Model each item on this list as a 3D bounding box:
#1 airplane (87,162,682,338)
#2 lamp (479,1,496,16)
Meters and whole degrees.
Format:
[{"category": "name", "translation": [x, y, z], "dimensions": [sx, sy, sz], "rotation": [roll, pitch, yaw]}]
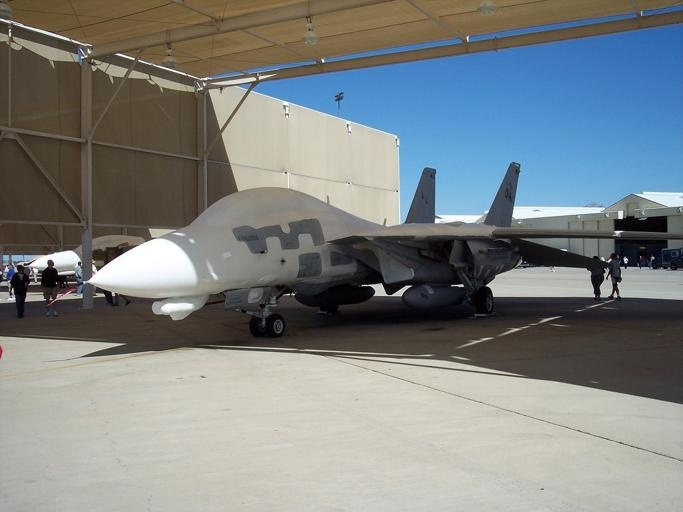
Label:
[{"category": "airplane", "translation": [-0.158, 0.127, 13.692], "dimensions": [11.270, 3.331, 4.014], "rotation": [-4, 7, -30]}, {"category": "lamp", "translation": [3.446, -5.864, 14.466], "dimensions": [0.388, 0.196, 0.462], "rotation": [-1, 6, 3]}]
